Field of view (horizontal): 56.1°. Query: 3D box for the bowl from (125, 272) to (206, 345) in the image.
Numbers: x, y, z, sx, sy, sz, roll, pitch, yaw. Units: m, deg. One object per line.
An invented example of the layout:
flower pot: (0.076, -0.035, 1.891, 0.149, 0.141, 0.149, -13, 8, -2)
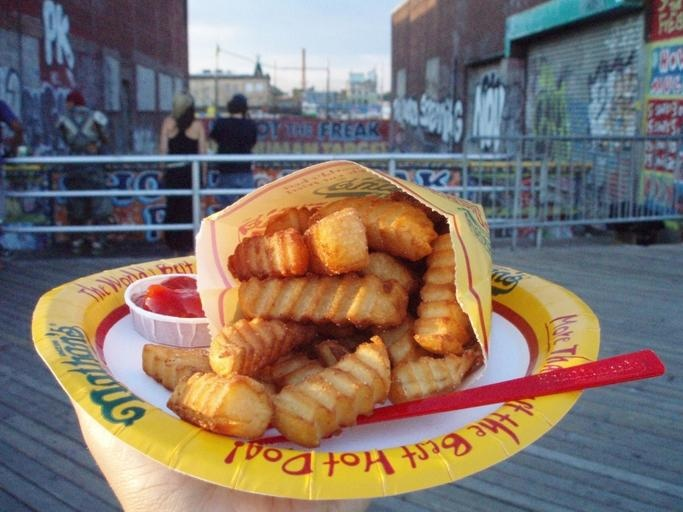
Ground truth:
bowl: (-0.718, 0.214, 2.682, 0.406, 0.238, 0.293, -5, 6, -29)

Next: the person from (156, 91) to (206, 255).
person: (-1.720, -0.894, 6.925, 0.374, 1.820, 0.408, -8, 14, -44)

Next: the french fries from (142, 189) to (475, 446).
french fries: (-0.171, 0.201, 2.179, 0.760, 0.855, 0.905, 1, 6, 40)
